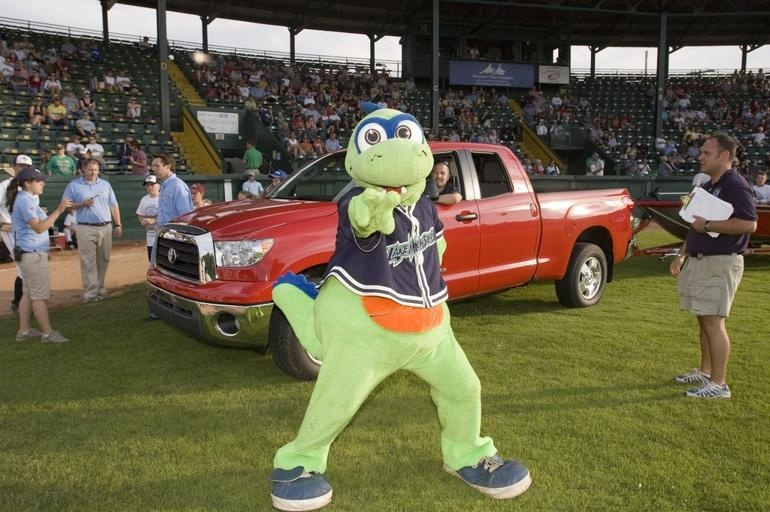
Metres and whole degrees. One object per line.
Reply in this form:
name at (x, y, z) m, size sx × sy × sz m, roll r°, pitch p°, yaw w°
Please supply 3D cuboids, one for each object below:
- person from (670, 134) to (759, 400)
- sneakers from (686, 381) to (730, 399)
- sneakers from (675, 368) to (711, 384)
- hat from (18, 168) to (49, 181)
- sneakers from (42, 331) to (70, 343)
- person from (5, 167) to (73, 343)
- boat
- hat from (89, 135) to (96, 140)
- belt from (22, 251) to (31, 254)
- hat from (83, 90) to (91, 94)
person at (3.497, 0.083, 6.584) m, size 0.748 × 2.638 × 0.831 m, roll 2°, pitch 13°, yaw 16°
sneakers at (3.418, 1.400, 6.628) m, size 0.493 × 0.213 × 0.174 m, roll 1°, pitch -5°, yaw 7°
sneakers at (3.342, 1.284, 6.765) m, size 0.348 × 0.163 × 0.132 m, roll 0°, pitch -4°, yaw 11°
hat at (-4.563, -1.032, 7.997) m, size 0.276 × 0.152 × 0.182 m, roll 0°, pitch 12°, yaw -20°
sneakers at (-4.241, 1.021, 8.026) m, size 0.375 × 0.173 × 0.150 m, roll 1°, pitch 2°, yaw -6°
person at (-4.528, -0.021, 7.990) m, size 0.675 × 2.161 × 0.969 m, roll -9°, pitch 15°, yaw -31°
boat at (6.109, -0.631, 12.048) m, size 3.167 × 1.314 × 1.500 m, roll 1°, pitch -1°, yaw -13°
hat at (-8.207, -3.295, 17.368) m, size 0.163 × 0.111 × 0.263 m, roll -7°, pitch 15°, yaw -24°
belt at (-4.538, -0.055, 7.853) m, size 0.086 × 0.031 × 0.015 m, roll -6°, pitch 14°, yaw -21°
hat at (-9.496, -5.145, 19.704) m, size 0.242 × 0.110 × 0.349 m, roll 1°, pitch 14°, yaw -21°
